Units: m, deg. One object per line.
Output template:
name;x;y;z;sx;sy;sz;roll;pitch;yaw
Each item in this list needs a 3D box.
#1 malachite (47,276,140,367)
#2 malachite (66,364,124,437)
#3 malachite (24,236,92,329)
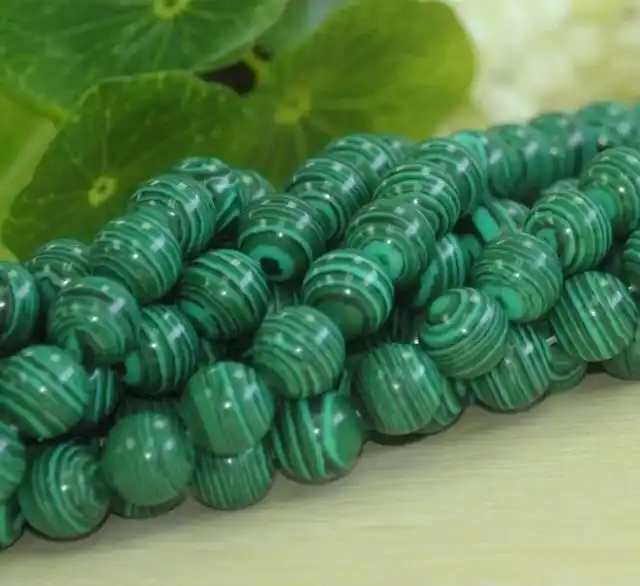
malachite;-0.150;0.020;0.519;0.034;0.036;0.040;-34;15;1
malachite;-0.149;0.073;0.538;0.024;0.044;0.036;21;-36;-16
malachite;-0.194;-0.005;0.584;0.057;0.071;0.060;0;-7;5
